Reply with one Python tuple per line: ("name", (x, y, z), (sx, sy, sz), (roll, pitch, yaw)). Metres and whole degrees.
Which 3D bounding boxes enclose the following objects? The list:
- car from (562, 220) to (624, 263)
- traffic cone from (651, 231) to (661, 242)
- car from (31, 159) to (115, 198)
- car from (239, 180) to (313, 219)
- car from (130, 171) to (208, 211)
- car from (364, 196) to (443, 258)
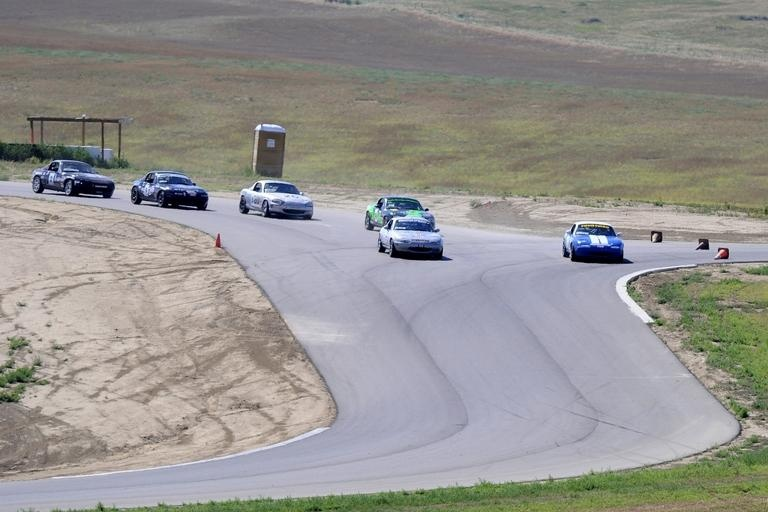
("car", (10.499, -0.668, 61.600), (2.943, 1.894, 1.833), (0, 7, 6))
("traffic cone", (15.263, -1.028, 68.808), (0.805, 0.658, 0.538), (-2, -1, -1))
("car", (-18.189, -4.563, 71.963), (2.950, 1.641, 5.835), (-2, 7, -42))
("car", (-6.122, -3.179, 69.433), (3.510, 1.929, 2.287), (5, 10, 44))
("car", (-12.284, -3.854, 70.560), (2.898, 1.623, 5.608), (-1, 7, -35))
("car", (1.028, -1.553, 64.109), (3.204, 2.675, 8.441), (-2, 7, -7))
